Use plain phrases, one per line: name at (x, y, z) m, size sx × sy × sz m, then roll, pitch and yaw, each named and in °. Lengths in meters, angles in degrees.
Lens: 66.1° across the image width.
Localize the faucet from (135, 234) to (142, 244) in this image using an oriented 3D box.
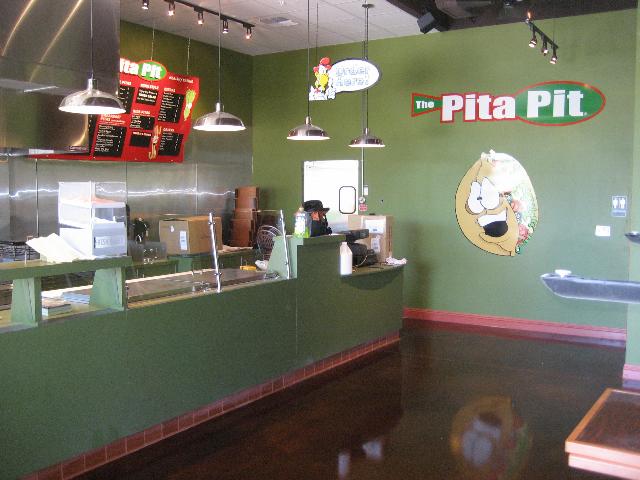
faucet at (-1.801, -0.003, 4.845) m, size 0.058 × 0.059 × 0.105 m, roll 8°, pitch -19°, yaw -8°

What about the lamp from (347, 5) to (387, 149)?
lamp at (0.662, -2.223, 7.158) m, size 0.502 × 1.850 × 2.015 m, roll -2°, pitch 5°, yaw 6°

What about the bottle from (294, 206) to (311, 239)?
bottle at (-0.187, -0.174, 5.145) m, size 0.176 × 0.290 × 0.369 m, roll -3°, pitch 5°, yaw -2°

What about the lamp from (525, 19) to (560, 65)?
lamp at (2.931, -2.723, 6.478) m, size 0.392 × 0.766 × 1.035 m, roll 0°, pitch 6°, yaw 26°

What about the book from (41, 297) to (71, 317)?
book at (-1.929, 0.485, 3.593) m, size 0.189 × 0.085 × 0.341 m, roll -6°, pitch 6°, yaw -30°

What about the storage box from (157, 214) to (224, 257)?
storage box at (-1.849, -0.051, 7.044) m, size 0.816 × 0.511 × 0.839 m, roll 0°, pitch 3°, yaw 13°
